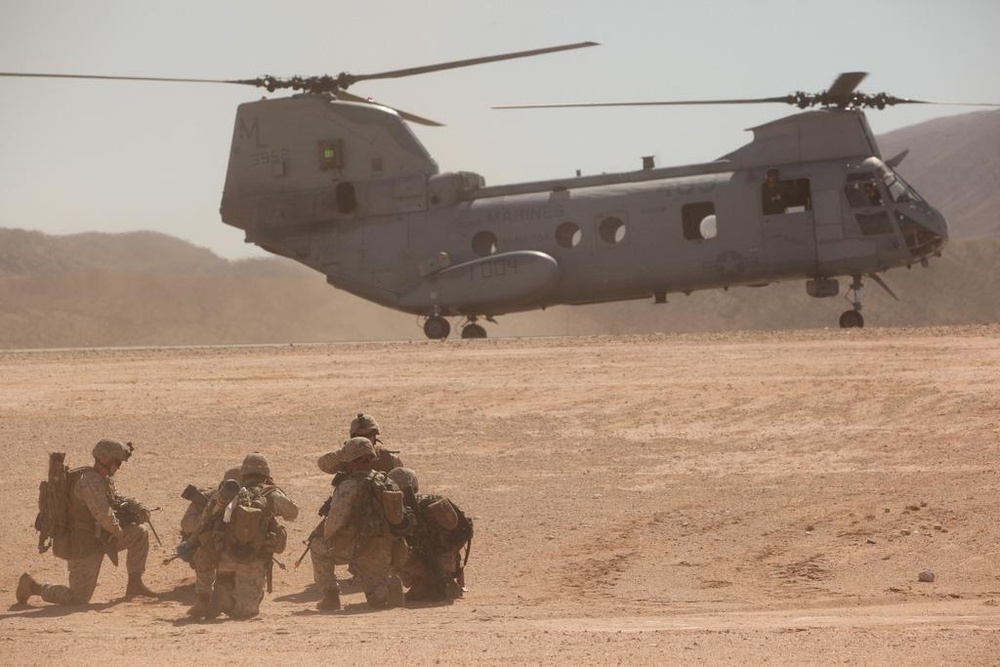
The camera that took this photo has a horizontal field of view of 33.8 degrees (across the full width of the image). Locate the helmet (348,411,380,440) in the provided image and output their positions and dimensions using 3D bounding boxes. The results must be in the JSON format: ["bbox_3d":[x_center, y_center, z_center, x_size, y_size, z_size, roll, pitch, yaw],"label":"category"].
[{"bbox_3d":[-1.858,1.284,22.827,0.439,0.260,0.309,-2,-4,6],"label":"helmet"}]

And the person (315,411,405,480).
[{"bbox_3d":[-2.066,1.687,24.717,1.058,1.206,0.478,-11,19,-21],"label":"person"}]

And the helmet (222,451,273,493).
[{"bbox_3d":[-3.406,1.876,22.938,0.491,0.438,0.610,4,12,7],"label":"helmet"}]

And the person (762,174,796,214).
[{"bbox_3d":[5.560,-2.841,33.539,0.496,0.783,0.196,-2,9,6],"label":"person"}]

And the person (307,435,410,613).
[{"bbox_3d":[-1.903,2.565,22.539,1.283,2.312,0.471,-1,-7,-5],"label":"person"}]

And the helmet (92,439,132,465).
[{"bbox_3d":[-5.236,1.584,22.495,0.452,0.208,0.335,-8,11,-40],"label":"helmet"}]
